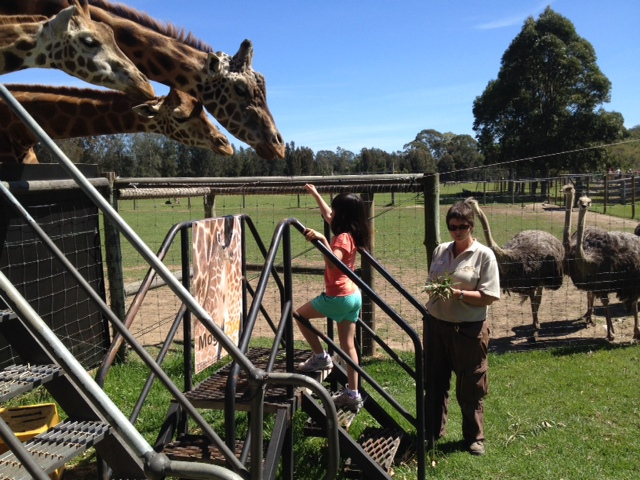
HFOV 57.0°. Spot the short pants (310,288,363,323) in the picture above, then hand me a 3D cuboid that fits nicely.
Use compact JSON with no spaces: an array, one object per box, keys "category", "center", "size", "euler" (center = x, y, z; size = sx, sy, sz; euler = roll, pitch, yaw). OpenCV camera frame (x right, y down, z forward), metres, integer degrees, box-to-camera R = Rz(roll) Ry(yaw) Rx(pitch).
[{"category":"short pants","center":[0.133,0.589,5.701],"size":[0.310,0.220,0.323],"euler":[2,-9,43]}]

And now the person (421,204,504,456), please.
[{"category":"person","center":[1.481,0.916,6.191],"size":[0.721,2.579,0.544],"euler":[2,9,18]}]
